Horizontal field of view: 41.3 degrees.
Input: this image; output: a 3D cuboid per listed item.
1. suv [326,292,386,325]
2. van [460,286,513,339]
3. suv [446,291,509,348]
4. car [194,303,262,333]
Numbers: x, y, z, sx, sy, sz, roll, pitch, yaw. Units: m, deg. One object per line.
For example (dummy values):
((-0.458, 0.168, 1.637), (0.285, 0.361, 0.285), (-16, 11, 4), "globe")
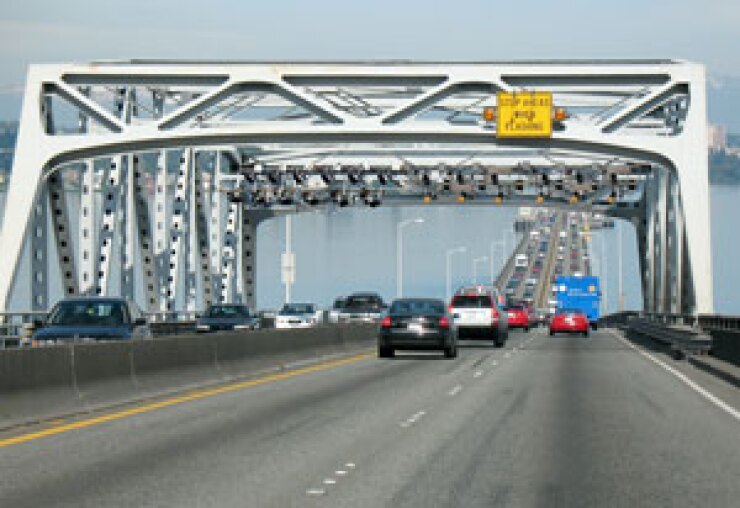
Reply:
((-0.385, 2.707, 49.730), (1.999, 1.054, 2.334), (1, 1, -41), "suv")
((5.757, 1.987, 46.396), (2.607, 2.896, 5.975), (-1, -1, 6), "van")
((4.304, 2.529, 38.966), (1.729, 1.869, 4.328), (0, -1, 14), "suv")
((-5.824, 2.825, 40.084), (2.287, 1.504, 4.245), (1, 0, 0), "car")
